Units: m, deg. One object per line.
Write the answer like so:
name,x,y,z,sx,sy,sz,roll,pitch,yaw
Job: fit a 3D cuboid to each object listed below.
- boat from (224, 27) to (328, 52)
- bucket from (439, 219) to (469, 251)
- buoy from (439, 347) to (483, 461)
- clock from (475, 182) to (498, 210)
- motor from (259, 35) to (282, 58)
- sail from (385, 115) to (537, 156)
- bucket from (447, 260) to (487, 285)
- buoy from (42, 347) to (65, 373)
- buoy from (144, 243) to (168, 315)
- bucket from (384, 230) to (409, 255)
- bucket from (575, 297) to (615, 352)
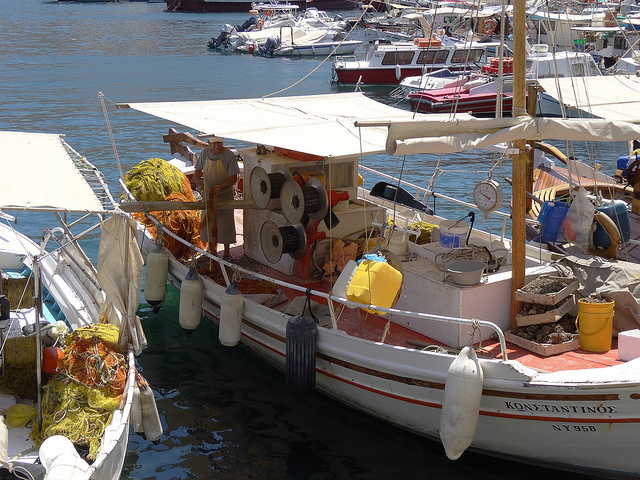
boat,-3.153,-14.472,48.780,5.412,1.459,1.759,-9,37,-17
bucket,2.045,-0.099,10.397,0.440,0.416,0.449,3,9,0
buoy,1.734,2.019,8.327,0.581,1.397,0.592,9,1,42
clock,2.449,-0.656,9.910,0.113,0.383,0.368,-12,3,-38
motor,-3.312,-13.721,47.559,1.962,0.777,0.957,-40,66,-15
sail,1.837,-1.395,8.962,2.014,0.501,0.373,-6,19,-12
bucket,2.057,0.447,9.470,0.535,0.239,0.470,2,19,10
buoy,-3.449,1.513,8.662,0.298,0.312,0.303,-5,13,-38
buoy,-2.714,0.582,11.230,0.328,1.220,0.324,1,10,-29
bucket,1.151,0.022,10.464,0.343,0.345,0.326,0,2,0
bucket,3.645,1.134,8.962,0.459,0.663,0.269,5,19,20
